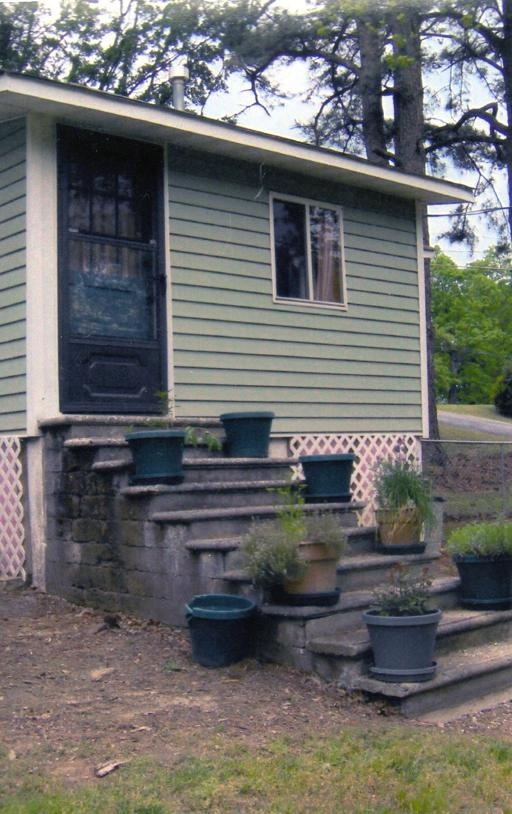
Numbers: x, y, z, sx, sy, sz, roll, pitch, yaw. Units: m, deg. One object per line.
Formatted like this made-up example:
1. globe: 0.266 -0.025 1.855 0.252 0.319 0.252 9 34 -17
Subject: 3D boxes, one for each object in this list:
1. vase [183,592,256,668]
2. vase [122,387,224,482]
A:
1. vase: -0.176 1.222 4.634 0.393 0.281 0.367 4 -10 -10
2. vase: -0.557 0.309 5.581 0.489 0.311 0.338 6 -9 -43
